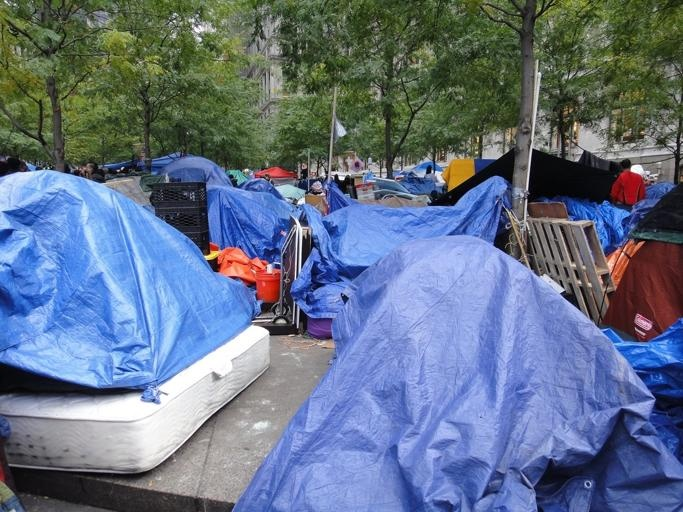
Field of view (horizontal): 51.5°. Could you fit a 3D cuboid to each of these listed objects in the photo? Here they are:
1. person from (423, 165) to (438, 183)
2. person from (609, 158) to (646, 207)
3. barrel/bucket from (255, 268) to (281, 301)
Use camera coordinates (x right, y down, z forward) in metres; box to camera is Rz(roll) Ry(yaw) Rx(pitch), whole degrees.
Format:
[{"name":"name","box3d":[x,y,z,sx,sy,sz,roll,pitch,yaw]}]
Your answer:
[{"name":"person","box3d":[3.378,-3.094,27.096,0.439,0.683,1.558,-2,16,17]},{"name":"person","box3d":[4.955,-1.281,12.388,0.503,0.855,0.529,-2,15,-1]},{"name":"barrel/bucket","box3d":[-1.083,0.423,10.568,0.391,0.456,0.408,0,4,0]}]
